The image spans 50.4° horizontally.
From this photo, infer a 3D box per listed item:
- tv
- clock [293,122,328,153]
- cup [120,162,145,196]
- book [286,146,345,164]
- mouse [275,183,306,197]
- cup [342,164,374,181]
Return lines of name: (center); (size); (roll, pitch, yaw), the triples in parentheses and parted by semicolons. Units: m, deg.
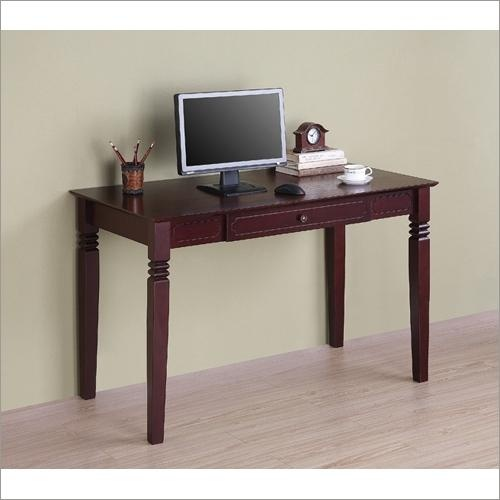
tv: (-0.080, -0.450, 2.065); (0.530, 0.419, 0.091); (-12, 26, -28)
clock: (0.293, -0.506, 2.373); (0.141, 0.123, 0.077); (3, 13, 35)
cup: (-0.435, -0.264, 1.946); (0.078, 0.099, 0.090); (10, 14, 31)
book: (0.294, -0.422, 2.364); (0.260, 0.066, 0.082); (-4, 8, -24)
mouse: (0.135, -0.219, 1.932); (0.131, 0.040, 0.043); (4, 8, 30)
cup: (0.435, -0.315, 2.201); (0.111, 0.067, 0.143); (-2, 4, -4)
